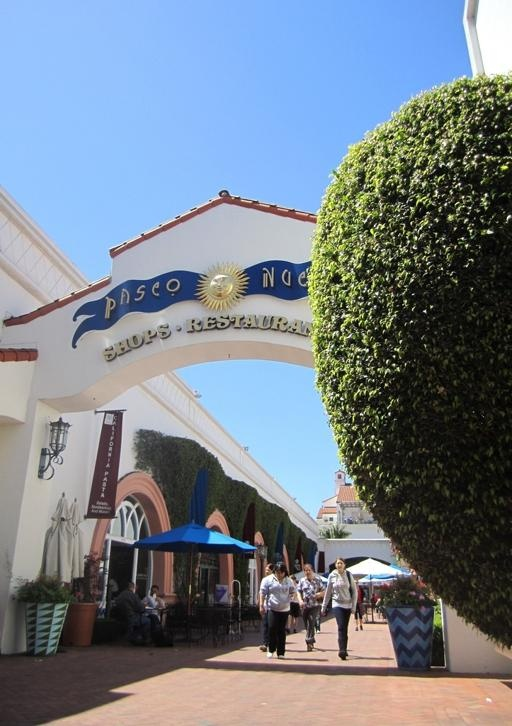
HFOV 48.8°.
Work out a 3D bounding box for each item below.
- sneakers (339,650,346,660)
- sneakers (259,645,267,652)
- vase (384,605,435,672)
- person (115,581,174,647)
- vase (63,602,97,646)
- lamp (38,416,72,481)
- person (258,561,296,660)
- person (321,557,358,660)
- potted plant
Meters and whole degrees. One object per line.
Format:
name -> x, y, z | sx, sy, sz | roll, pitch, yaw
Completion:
sneakers -> 1.255, 4.256, 8.255 | 0.063, 0.198, 0.082 | -3, 7, 16
sneakers -> 0.103, 4.397, 8.742 | 0.077, 0.098, 0.247 | 0, -42, 6
vase -> 2.049, 3.517, 7.319 | 0.853, 0.686, 0.894 | -10, -27, 21
person -> -2.317, 4.834, 10.983 | 0.507, 1.192, 0.795 | -11, -18, 37
vase -> -3.201, 4.685, 10.221 | 0.612, 0.699, 0.647 | -10, -20, 36
lamp -> -3.444, 1.450, 9.586 | 0.372, 1.093, 0.553 | 3, -18, -11
person -> 0.318, 3.490, 7.999 | 0.504, 1.246, 0.419 | 7, -20, -15
person -> 1.306, 3.860, 8.910 | 0.582, 1.481, 1.291 | -3, -18, 7
potted plant -> -3.335, 3.713, 8.518 | 0.967, 1.187, 0.985 | 11, -30, -32
